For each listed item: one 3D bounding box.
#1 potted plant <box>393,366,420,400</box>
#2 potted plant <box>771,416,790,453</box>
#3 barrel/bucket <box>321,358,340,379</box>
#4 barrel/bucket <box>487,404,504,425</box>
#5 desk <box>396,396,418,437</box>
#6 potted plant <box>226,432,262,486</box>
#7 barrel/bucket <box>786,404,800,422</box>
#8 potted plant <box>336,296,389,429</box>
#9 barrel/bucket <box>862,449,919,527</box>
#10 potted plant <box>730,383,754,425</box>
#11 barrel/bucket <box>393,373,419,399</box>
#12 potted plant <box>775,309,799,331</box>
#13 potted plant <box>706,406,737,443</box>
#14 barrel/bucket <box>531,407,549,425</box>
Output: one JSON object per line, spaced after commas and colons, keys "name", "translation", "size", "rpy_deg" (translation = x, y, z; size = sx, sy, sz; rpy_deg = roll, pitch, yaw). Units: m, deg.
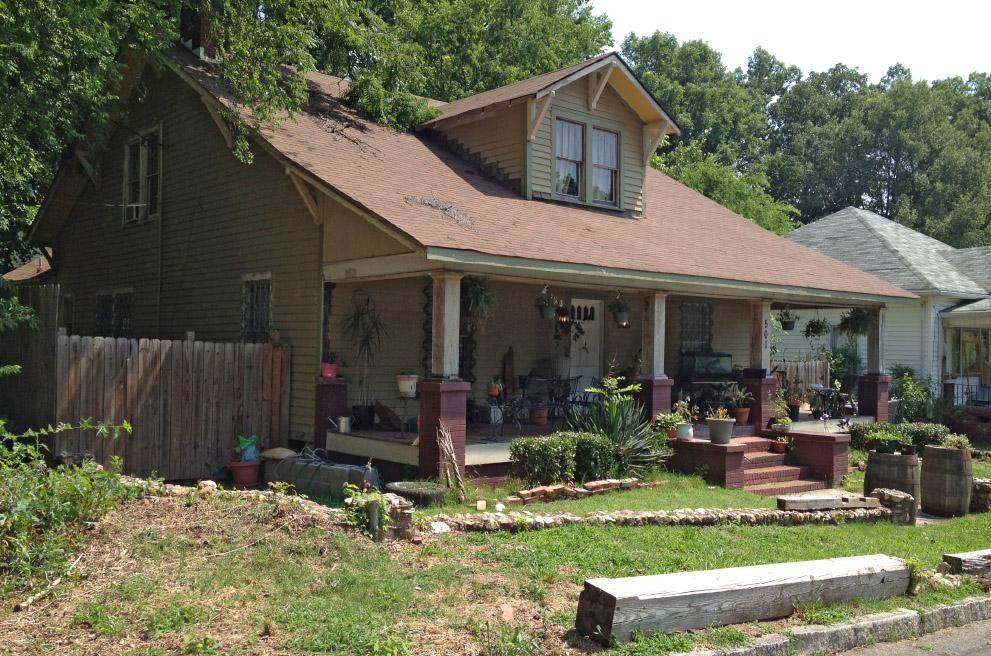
{"name": "potted plant", "translation": [-1.990, 1.209, 20.675], "size": [0.582, 0.667, 0.596], "rpy_deg": [0, -2, 3]}
{"name": "potted plant", "translation": [6.667, 2.487, 22.477], "size": [0.413, 0.639, 0.903], "rpy_deg": [7, 13, 15]}
{"name": "barrel/bucket", "translation": [-3.529, 0.886, 20.491], "size": [0.329, 0.360, 0.349], "rpy_deg": [-1, 1, 0]}
{"name": "barrel/bucket", "translation": [0.011, 1.920, 21.254], "size": [0.371, 0.582, 0.383], "rpy_deg": [0, -1, 0]}
{"name": "desk", "translation": [-2.005, 1.983, 21.753], "size": [0.296, 1.066, 0.410], "rpy_deg": [2, -13, 16]}
{"name": "potted plant", "translation": [-5.261, 2.786, 20.085], "size": [0.620, 0.916, 0.754], "rpy_deg": [3, 13, -7]}
{"name": "barrel/bucket", "translation": [7.723, 2.226, 25.117], "size": [0.418, 0.493, 0.437], "rpy_deg": [2, 0, 0]}
{"name": "potted plant", "translation": [-3.019, 0.419, 21.272], "size": [0.914, 2.515, 0.492], "rpy_deg": [-2, 14, -24]}
{"name": "barrel/bucket", "translation": [7.838, 3.167, 19.264], "size": [1.200, 1.705, 1.175], "rpy_deg": [1, -9, 0]}
{"name": "potted plant", "translation": [5.977, 1.844, 23.393], "size": [0.646, 0.861, 0.804], "rpy_deg": [-4, -9, 42]}
{"name": "barrel/bucket", "translation": [-1.954, 1.241, 20.568], "size": [0.479, 0.442, 0.470], "rpy_deg": [1, -1, 0]}
{"name": "potted plant", "translation": [9.298, -0.251, 30.662], "size": [0.705, 0.757, 0.759], "rpy_deg": [2, -4, -15]}
{"name": "potted plant", "translation": [4.954, 2.061, 20.976], "size": [0.784, 0.924, 0.838], "rpy_deg": [2, -5, -4]}
{"name": "barrel/bucket", "translation": [1.045, 2.060, 22.544], "size": [0.363, 0.301, 0.379], "rpy_deg": [1, -1, 0]}
